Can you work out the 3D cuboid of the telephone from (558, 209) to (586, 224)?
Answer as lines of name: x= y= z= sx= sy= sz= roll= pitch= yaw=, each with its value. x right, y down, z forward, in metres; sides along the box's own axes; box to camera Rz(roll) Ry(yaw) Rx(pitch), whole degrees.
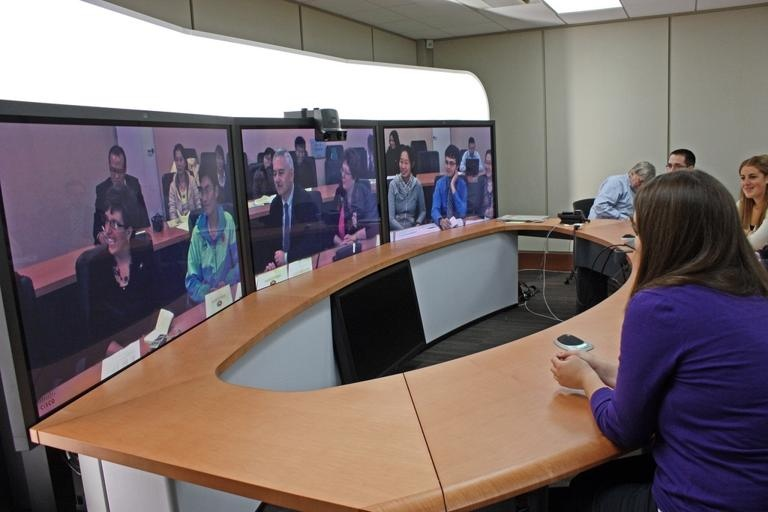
telephone: x=1.843 y=-0.380 z=5.059 sx=0.242 sy=0.119 sz=0.349 roll=0 pitch=9 yaw=13

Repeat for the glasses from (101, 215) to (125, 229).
glasses: x=-1.127 y=-0.140 z=2.141 sx=0.058 sy=0.046 sz=0.077 roll=2 pitch=2 yaw=-18
